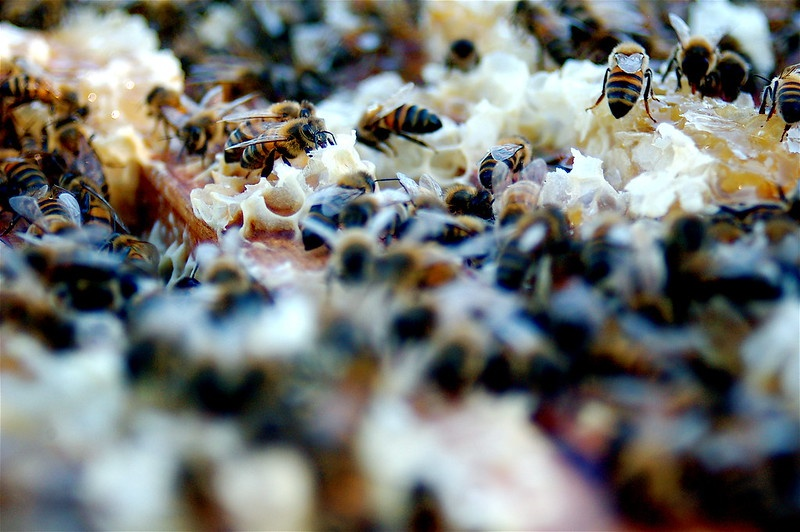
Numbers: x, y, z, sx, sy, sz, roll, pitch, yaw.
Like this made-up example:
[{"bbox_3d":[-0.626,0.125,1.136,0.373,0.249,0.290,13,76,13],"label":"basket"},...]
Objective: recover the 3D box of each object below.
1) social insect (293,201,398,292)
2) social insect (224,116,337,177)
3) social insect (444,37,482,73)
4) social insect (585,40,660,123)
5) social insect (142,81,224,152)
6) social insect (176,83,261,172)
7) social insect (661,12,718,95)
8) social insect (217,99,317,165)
[{"bbox_3d":[-0.088,-0.045,1.319,0.172,0.153,0.186,1,38,-1],"label":"social insect"},{"bbox_3d":[-0.231,-0.234,1.588,0.257,0.094,0.186,-8,-5,44],"label":"social insect"},{"bbox_3d":[0.169,-0.568,2.149,0.089,0.094,0.103,-29,3,3],"label":"social insect"},{"bbox_3d":[0.447,-0.368,1.524,0.114,0.084,0.149,2,58,13],"label":"social insect"},{"bbox_3d":[-0.510,-0.348,1.850,0.192,0.084,0.177,10,57,-10],"label":"social insect"},{"bbox_3d":[-0.424,-0.341,1.877,0.142,0.060,0.206,22,65,31],"label":"social insect"},{"bbox_3d":[0.614,-0.435,1.633,0.126,0.064,0.175,16,42,11],"label":"social insect"},{"bbox_3d":[-0.254,-0.252,1.660,0.222,0.087,0.175,-18,5,-2],"label":"social insect"}]
